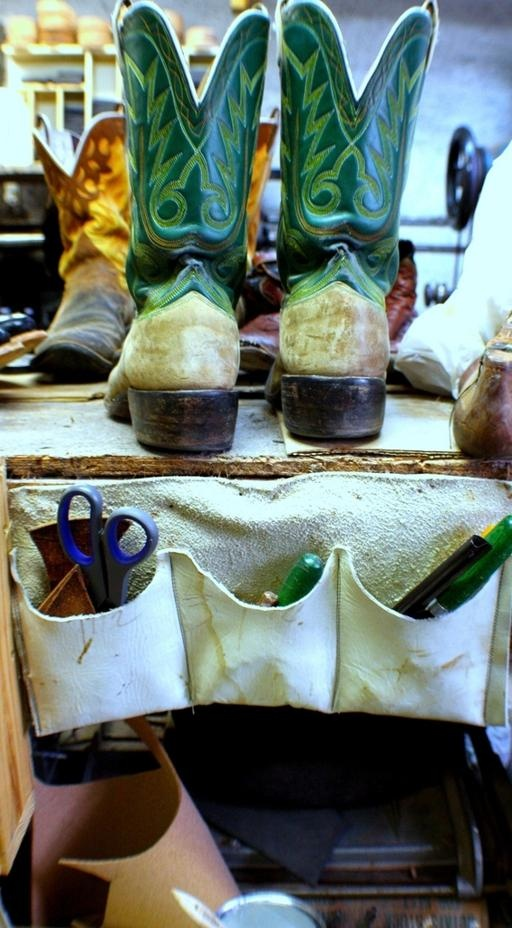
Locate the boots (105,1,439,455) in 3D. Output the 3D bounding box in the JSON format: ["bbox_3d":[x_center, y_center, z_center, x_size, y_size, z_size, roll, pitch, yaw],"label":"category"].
[{"bbox_3d":[0.024,-0.263,0.908,0.352,0.497,0.384,0,12,-3],"label":"boots"}]

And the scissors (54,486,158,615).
[{"bbox_3d":[-0.132,0.067,0.663,0.095,0.122,0.107,1,19,-1],"label":"scissors"}]
